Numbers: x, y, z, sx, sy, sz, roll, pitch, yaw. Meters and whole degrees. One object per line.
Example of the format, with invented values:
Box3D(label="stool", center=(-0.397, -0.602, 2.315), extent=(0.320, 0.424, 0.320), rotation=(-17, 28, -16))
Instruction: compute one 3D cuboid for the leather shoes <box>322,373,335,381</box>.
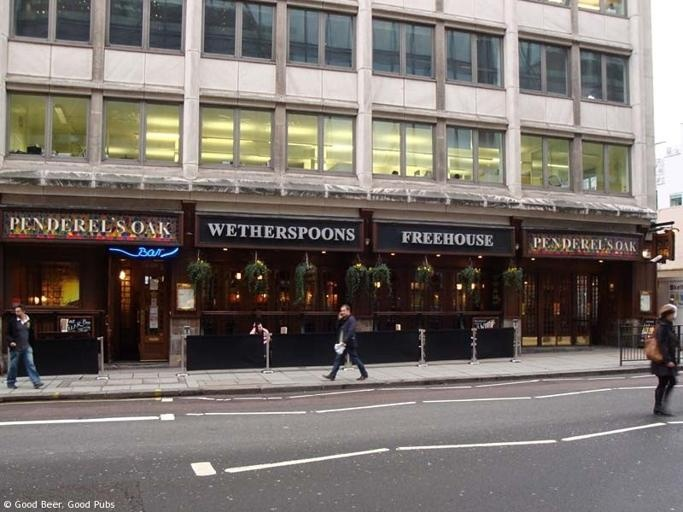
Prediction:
Box3D(label="leather shoes", center=(-0.402, 3.661, 24.779), extent=(0.408, 0.199, 0.140), rotation=(8, -5, 26))

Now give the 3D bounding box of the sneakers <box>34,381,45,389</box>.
Box3D(label="sneakers", center=(-8.551, 3.642, 23.099), extent=(0.255, 0.158, 0.372), rotation=(0, -4, -23))

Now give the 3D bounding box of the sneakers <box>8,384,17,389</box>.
Box3D(label="sneakers", center=(-9.248, 3.677, 22.962), extent=(0.244, 0.117, 0.431), rotation=(0, -4, -24))
